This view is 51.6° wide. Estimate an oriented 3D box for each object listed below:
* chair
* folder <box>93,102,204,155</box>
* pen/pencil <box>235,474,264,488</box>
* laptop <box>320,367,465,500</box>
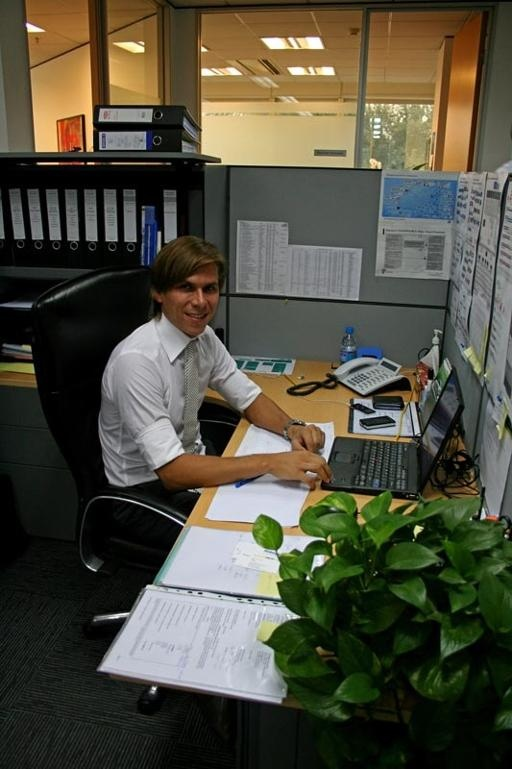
[{"bbox_3d":[-0.243,0.233,1.564,0.595,1.041,0.593,7,22,26],"label":"chair"},{"bbox_3d":[-0.424,-0.971,2.076,0.260,0.092,0.269,1,17,-2],"label":"folder"},{"bbox_3d":[-0.019,0.245,1.343,0.079,0.012,0.013,-19,21,-36],"label":"pen/pencil"},{"bbox_3d":[0.352,0.105,1.391,0.399,0.267,0.434,-1,15,-5],"label":"laptop"}]
